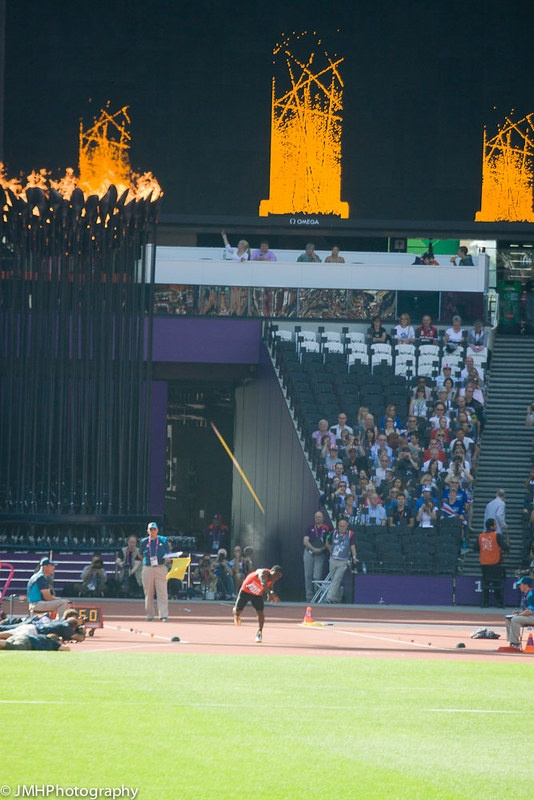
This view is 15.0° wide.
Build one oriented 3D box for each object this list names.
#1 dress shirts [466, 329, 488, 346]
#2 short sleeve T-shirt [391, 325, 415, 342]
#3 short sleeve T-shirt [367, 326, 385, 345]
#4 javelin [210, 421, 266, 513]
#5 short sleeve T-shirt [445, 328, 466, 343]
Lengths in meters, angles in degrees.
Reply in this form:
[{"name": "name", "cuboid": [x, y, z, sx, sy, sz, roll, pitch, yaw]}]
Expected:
[{"name": "dress shirts", "cuboid": [3.813, -1.122, 36.837, 0.363, 0.478, 0.270, 1, -7, 3]}, {"name": "short sleeve T-shirt", "cuboid": [2.487, -1.337, 37.243, 0.435, 0.526, 0.270, 1, -9, -2]}, {"name": "short sleeve T-shirt", "cuboid": [1.986, -1.197, 36.882, 0.291, 0.564, 0.289, 0, -11, 0]}, {"name": "javelin", "cuboid": [-0.555, 1.358, 40.343, 0.124, 2.374, 0.134, -27, 22, 7]}, {"name": "short sleeve T-shirt", "cuboid": [3.421, -1.197, 37.021, 0.383, 0.455, 0.241, 1, -16, -3]}]
